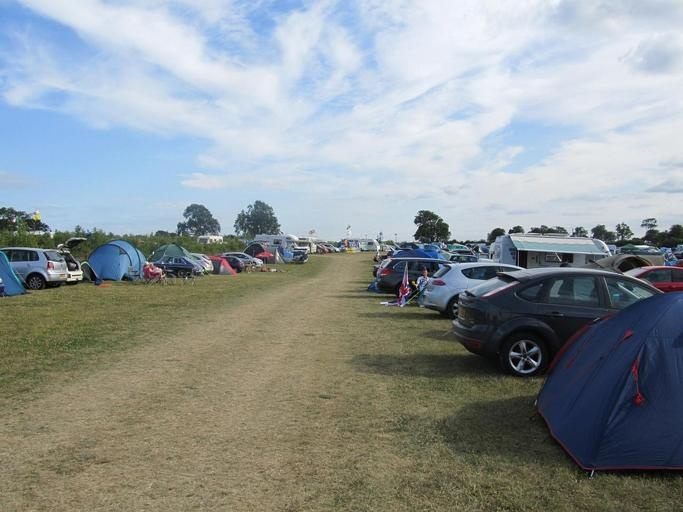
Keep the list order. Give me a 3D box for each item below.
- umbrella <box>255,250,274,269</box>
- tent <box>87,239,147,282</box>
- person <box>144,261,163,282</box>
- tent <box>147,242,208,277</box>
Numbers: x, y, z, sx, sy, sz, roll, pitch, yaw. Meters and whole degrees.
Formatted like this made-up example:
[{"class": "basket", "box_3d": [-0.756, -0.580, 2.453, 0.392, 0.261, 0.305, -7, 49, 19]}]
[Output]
[{"class": "umbrella", "box_3d": [-7.856, 0.386, 48.682, 1.839, 1.281, 1.729, -1, 5, -26]}, {"class": "tent", "box_3d": [-13.333, 0.229, 27.189, 2.753, 1.702, 2.597, 0, 3, 6]}, {"class": "person", "box_3d": [-10.375, 0.868, 25.363, 1.204, 0.925, 1.140, -1, 5, -14]}, {"class": "tent", "box_3d": [-11.212, 0.281, 31.268, 3.797, 1.537, 2.131, 3, 1, -4]}]
